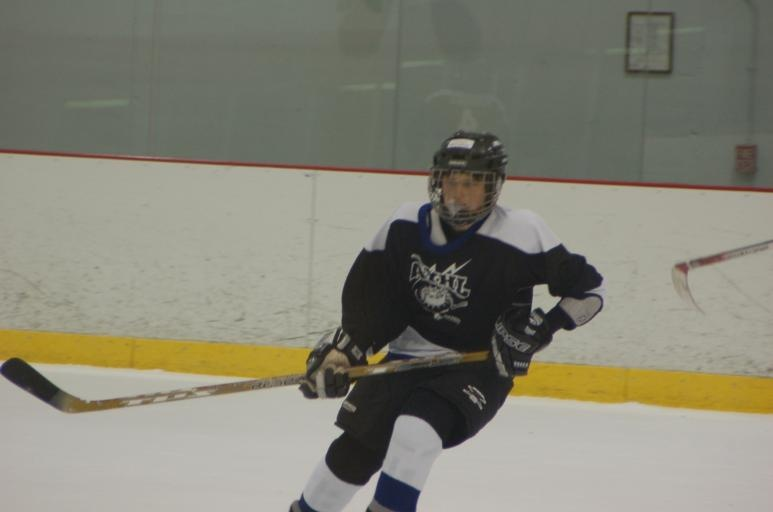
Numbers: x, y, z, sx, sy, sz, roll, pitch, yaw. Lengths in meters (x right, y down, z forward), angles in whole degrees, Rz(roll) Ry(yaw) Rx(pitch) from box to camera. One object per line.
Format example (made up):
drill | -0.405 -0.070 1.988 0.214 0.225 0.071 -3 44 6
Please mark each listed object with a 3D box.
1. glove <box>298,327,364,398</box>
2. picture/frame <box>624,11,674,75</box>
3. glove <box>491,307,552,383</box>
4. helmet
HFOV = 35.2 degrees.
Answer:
glove | -0.311 0.614 6.857 0.378 0.316 0.179 -32 -20 1
picture/frame | 1.774 -1.432 8.174 0.310 0.391 0.106 1 11 8
glove | 0.754 0.484 6.895 0.400 0.294 0.404 -35 -20 -4
helmet | 0.454 -0.433 6.895 0.414 0.523 0.532 6 14 22
